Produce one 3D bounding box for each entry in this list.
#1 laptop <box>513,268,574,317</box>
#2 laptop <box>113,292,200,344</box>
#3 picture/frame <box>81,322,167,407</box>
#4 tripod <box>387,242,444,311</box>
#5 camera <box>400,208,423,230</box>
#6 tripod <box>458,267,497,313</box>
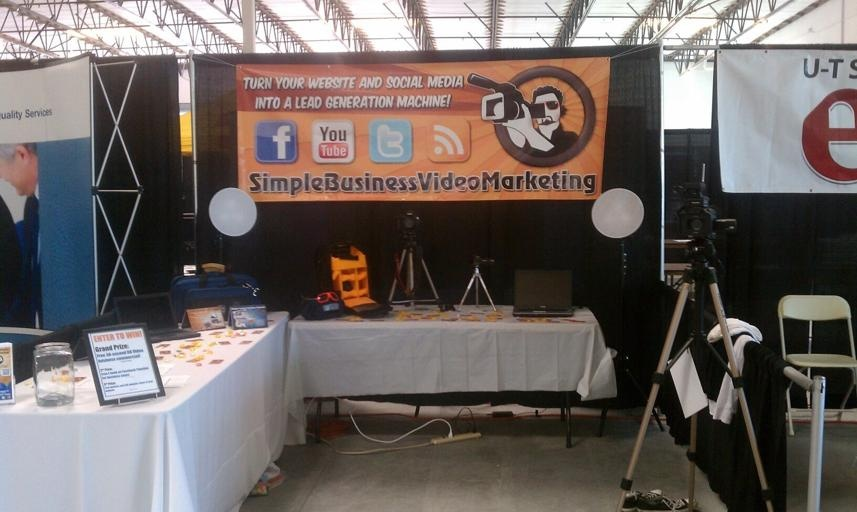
[{"bbox_3d":[1.117,0.357,6.774,0.580,0.441,0.420,0,3,5],"label":"laptop"},{"bbox_3d":[-2.284,0.485,5.886,0.530,0.349,0.574,-4,-4,42],"label":"laptop"},{"bbox_3d":[-2.235,0.783,5.187,0.456,0.663,0.047,-6,27,-13],"label":"picture/frame"},{"bbox_3d":[-0.137,0.179,6.931,0.445,0.661,0.474,-3,-8,5],"label":"tripod"},{"bbox_3d":[-0.150,-0.367,6.900,0.207,0.211,0.207,0,12,-4],"label":"camera"},{"bbox_3d":[0.499,0.317,6.985,0.417,0.581,0.391,-1,10,-8],"label":"tripod"}]
